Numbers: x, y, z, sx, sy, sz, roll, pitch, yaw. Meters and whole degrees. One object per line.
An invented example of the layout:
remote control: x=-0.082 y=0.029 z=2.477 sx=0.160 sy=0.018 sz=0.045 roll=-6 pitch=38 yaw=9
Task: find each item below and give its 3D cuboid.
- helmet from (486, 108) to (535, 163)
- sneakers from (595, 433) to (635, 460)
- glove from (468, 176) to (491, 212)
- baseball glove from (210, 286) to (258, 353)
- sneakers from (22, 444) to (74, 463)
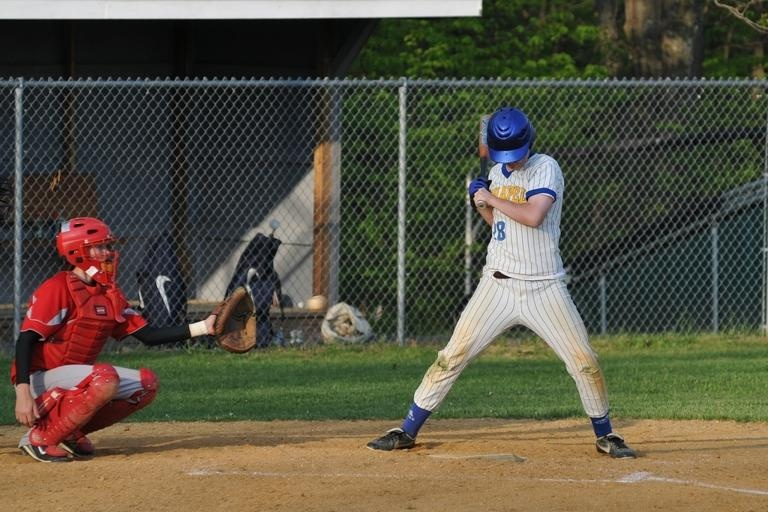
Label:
helmet: x=1.448 y=-1.462 z=18.150 sx=0.475 sy=0.669 sz=0.350 roll=0 pitch=-32 yaw=15
sneakers: x=2.695 y=2.215 z=18.231 sx=0.513 sy=0.218 sz=0.202 roll=-3 pitch=-1 yaw=42
glove: x=1.105 y=-0.752 z=18.315 sx=0.272 sy=0.346 sz=0.116 roll=1 pitch=-7 yaw=11
baseball glove: x=-1.766 y=0.739 z=18.481 sx=0.293 sy=0.723 sz=0.566 roll=0 pitch=-22 yaw=31
sneakers: x=-3.940 y=2.292 z=18.302 sx=0.609 sy=0.276 sz=0.216 roll=1 pitch=-1 yaw=6
